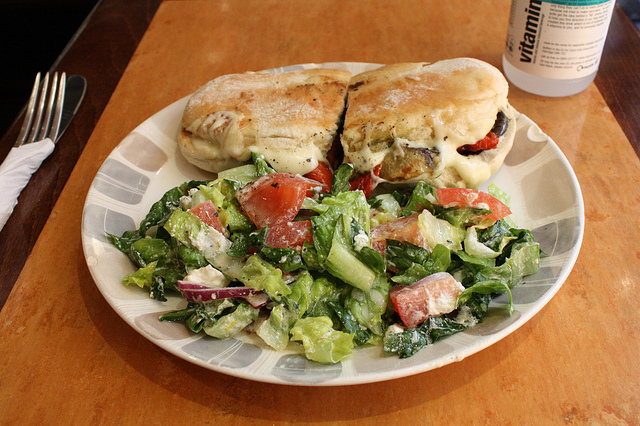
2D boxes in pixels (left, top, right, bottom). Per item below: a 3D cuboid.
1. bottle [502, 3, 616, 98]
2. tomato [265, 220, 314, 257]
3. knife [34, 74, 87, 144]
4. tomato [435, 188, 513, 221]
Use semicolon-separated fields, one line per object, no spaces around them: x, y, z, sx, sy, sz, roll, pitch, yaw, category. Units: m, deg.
1.387;-0.943;3.305;0.374;0.673;0.396;-6;40;5;bottle
-0.139;0.104;2.556;0.168;0.050;0.172;33;64;14;tomato
-1.573;-0.653;3.530;0.113;0.038;0.516;19;48;-11;knife
0.701;-0.059;2.611;0.365;0.136;0.312;-1;18;10;tomato
